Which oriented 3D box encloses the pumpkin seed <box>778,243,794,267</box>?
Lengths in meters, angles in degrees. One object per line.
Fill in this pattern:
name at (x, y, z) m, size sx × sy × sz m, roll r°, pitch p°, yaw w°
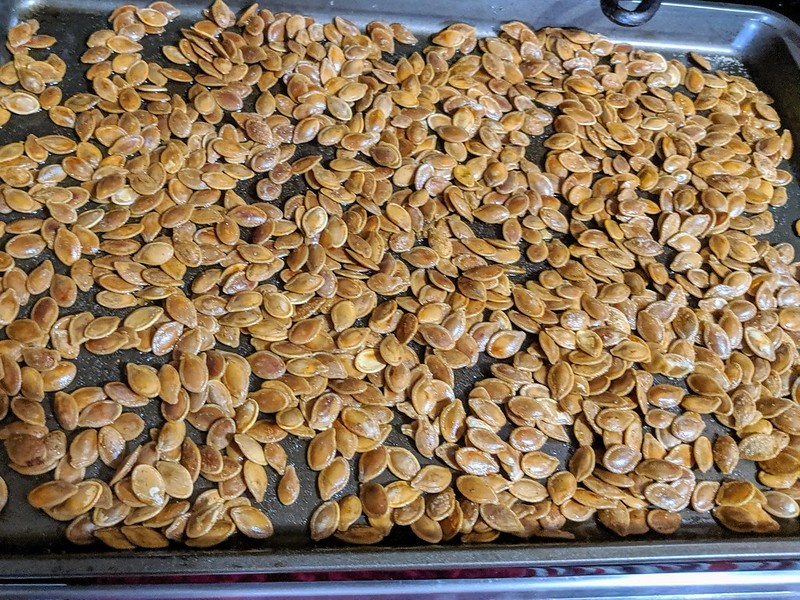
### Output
pumpkin seed at (0.704, -0.081, 1.471) m, size 0.033 × 0.008 × 0.036 m, roll -1°, pitch 67°, yaw -8°
